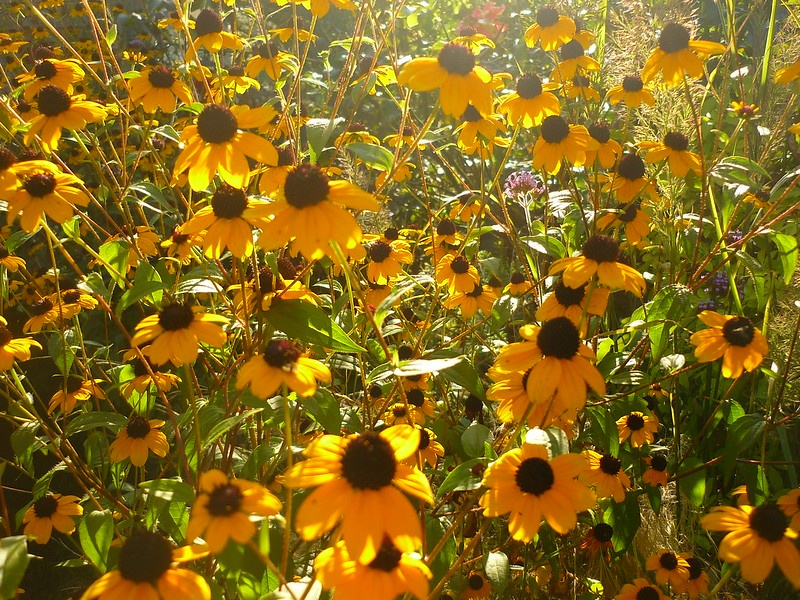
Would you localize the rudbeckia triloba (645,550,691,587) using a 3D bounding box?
[{"bbox_3d":[1.279,1.259,3.359,0.197,0.119,0.167,3,45,-1],"label":"rudbeckia triloba"}]
